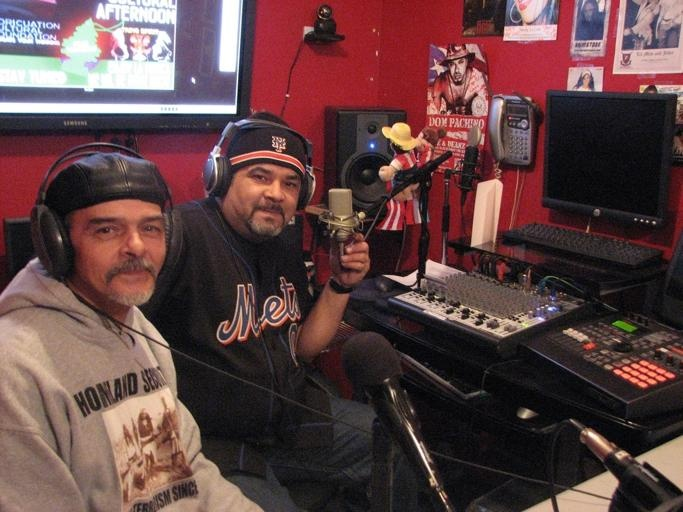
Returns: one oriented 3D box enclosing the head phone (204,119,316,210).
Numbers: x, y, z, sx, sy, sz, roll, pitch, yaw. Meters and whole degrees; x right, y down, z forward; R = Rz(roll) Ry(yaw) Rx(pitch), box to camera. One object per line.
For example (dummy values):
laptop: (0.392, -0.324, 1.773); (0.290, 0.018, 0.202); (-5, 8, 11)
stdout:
head phone: (-0.218, -0.276, 1.710); (0.340, 0.283, 0.205); (7, 0, -27)

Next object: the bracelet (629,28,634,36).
bracelet: (1.153, -0.893, 2.283); (0.013, 0.018, 0.004); (18, 22, 36)

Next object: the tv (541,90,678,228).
tv: (0.982, -0.366, 2.085); (0.478, 0.464, 0.058); (16, 26, 42)

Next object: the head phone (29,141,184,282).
head phone: (-0.408, -0.086, 1.005); (0.253, 0.238, 0.185); (-7, -10, -34)

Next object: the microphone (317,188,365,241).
microphone: (-0.008, -0.088, 1.127); (0.092, 0.108, 0.100); (-2, 12, -9)

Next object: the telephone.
telephone: (0.779, -0.572, 2.578); (0.176, 0.340, 0.244); (-13, 19, -33)
